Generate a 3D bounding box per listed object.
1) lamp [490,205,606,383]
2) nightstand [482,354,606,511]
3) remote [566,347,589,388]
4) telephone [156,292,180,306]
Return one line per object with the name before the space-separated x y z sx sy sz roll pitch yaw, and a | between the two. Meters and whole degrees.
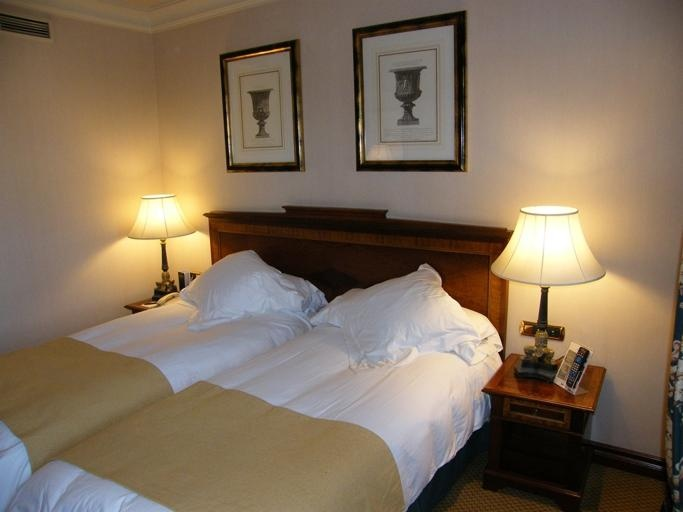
lamp | 1.188 0.057 3.389 0.790 1.371 0.833 6 19 21
nightstand | 1.178 0.993 3.135 0.644 0.836 0.700 5 12 27
remote | 1.297 0.620 2.790 0.156 0.224 0.087 -9 14 -33
telephone | -1.404 0.330 4.140 0.141 0.047 0.103 -17 24 -36
